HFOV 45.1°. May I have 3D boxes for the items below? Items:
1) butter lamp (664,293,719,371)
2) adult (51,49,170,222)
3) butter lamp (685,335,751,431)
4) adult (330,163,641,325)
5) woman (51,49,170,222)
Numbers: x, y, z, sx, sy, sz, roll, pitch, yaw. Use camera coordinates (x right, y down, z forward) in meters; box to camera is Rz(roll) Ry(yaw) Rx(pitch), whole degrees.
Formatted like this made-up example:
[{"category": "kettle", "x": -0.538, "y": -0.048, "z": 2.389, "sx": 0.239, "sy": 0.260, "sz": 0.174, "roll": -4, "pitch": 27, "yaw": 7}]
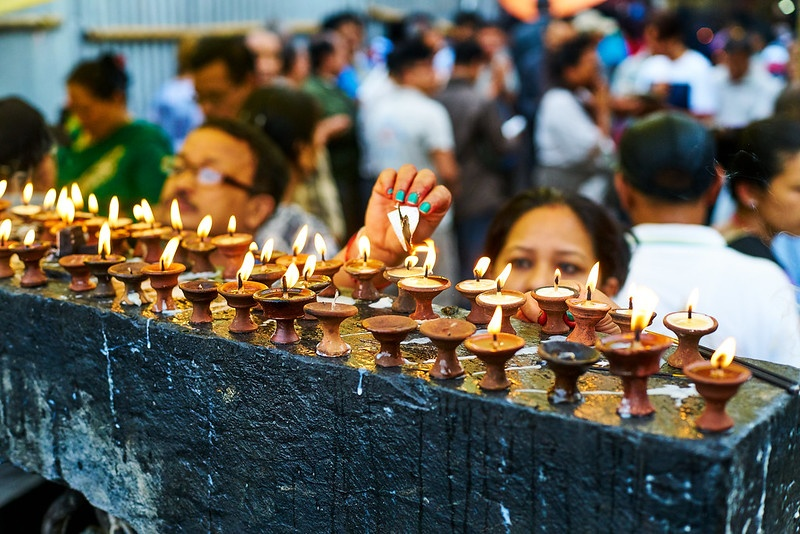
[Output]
[{"category": "butter lamp", "x": 1.565, "y": 0.357, "z": 5.099, "sx": 0.269, "sy": 0.379, "sz": 0.263, "roll": 11, "pitch": 27, "yaw": 30}, {"category": "adult", "x": -2.098, "y": -0.969, "z": 7.101, "sx": 0.869, "sy": 1.570, "sz": 0.554, "roll": 23, "pitch": 41, "yaw": 14}, {"category": "butter lamp", "x": 1.514, "y": 0.539, "z": 4.549, "sx": 0.315, "sy": 0.418, "sz": 0.319, "roll": -9, "pitch": 13, "yaw": -34}, {"category": "adult", "x": 0.523, "y": -0.128, "z": 5.784, "sx": 1.608, "sy": 0.689, "sz": 0.886, "roll": 13, "pitch": -4, "yaw": 18}, {"category": "woman", "x": -2.098, "y": -0.969, "z": 7.101, "sx": 0.869, "sy": 1.570, "sz": 0.554, "roll": 23, "pitch": 41, "yaw": 14}]
